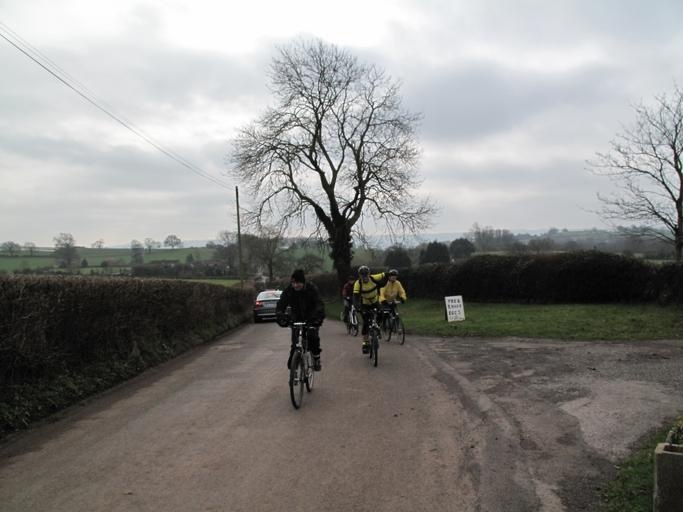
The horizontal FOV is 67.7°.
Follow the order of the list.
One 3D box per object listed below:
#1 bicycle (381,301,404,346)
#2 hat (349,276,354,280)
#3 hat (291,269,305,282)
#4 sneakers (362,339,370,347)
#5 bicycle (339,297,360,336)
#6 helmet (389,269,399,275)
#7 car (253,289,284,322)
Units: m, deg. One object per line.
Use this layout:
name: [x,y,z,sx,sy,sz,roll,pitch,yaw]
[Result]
bicycle: [1.651,2.138,16.239,0.663,0.975,1.470,-1,-3,-9]
hat: [0.406,0.916,21.712,0.226,0.137,0.328,-2,-2,-2]
hat: [-0.800,0.351,9.142,0.194,0.235,0.231,0,-4,24]
sneakers: [0.626,2.247,13.090,0.174,0.199,0.299,-1,-9,1]
bicycle: [0.358,2.521,20.738,0.702,1.025,1.535,0,-1,-14]
helmet: [1.518,0.482,15.088,0.181,0.111,0.278,-2,-3,-3]
car: [-4.408,3.225,30.276,1.910,1.736,4.865,0,1,-1]
